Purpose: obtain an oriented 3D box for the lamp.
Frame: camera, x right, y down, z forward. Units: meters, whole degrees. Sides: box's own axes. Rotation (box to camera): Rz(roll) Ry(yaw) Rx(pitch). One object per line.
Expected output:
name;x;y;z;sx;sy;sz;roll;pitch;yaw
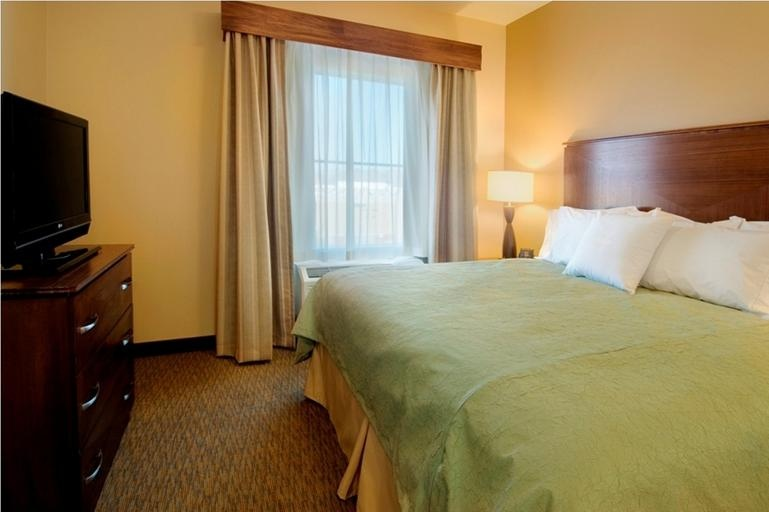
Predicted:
lamp;1.144;-0.340;4.570;0.416;0.722;0.417;2;-4;-26
